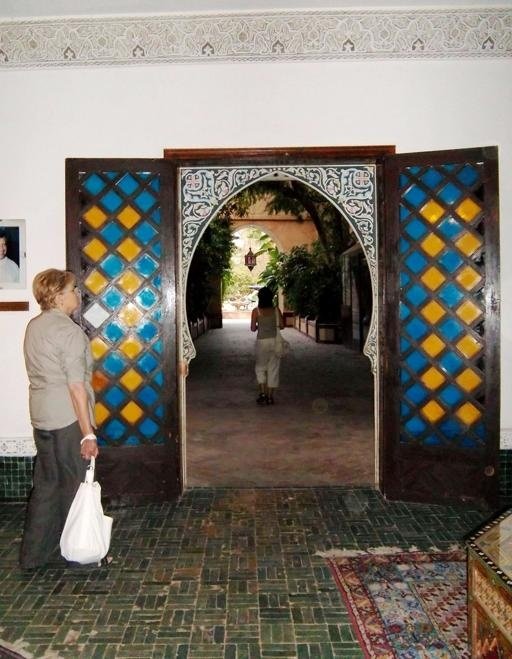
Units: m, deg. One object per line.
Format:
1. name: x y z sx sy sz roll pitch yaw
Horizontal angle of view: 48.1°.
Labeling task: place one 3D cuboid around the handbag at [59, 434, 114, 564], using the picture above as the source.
1. handbag: -0.880 0.944 2.944 0.253 0.563 0.128 -3 5 -16

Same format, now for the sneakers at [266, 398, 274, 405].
1. sneakers: 0.177 0.922 7.336 0.089 0.143 0.096 -3 -5 18
